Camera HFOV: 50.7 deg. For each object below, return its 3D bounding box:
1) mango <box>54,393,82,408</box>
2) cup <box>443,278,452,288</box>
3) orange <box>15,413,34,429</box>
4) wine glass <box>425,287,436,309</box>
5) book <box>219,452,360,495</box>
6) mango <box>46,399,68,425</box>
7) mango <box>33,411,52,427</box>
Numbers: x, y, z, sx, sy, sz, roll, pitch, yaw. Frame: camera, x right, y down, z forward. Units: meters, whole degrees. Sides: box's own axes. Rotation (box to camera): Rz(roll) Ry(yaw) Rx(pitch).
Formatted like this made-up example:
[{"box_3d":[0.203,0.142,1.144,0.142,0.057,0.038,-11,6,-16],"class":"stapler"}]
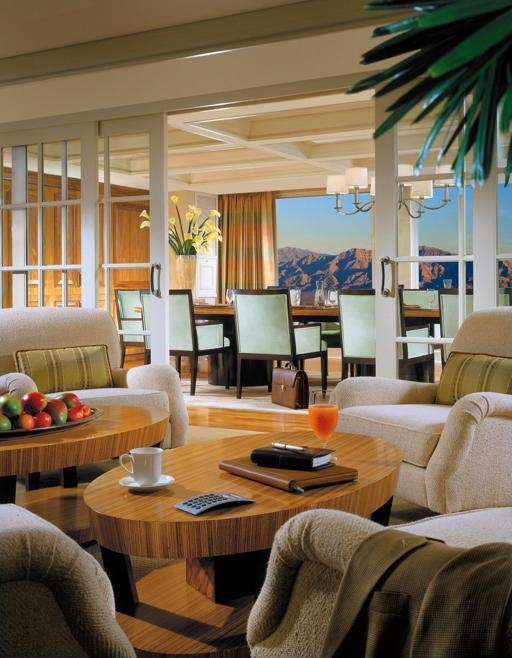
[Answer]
[{"box_3d":[-0.697,0.262,2.021,0.072,0.052,0.051,1,12,-26],"class":"mango"},{"box_3d":[1.152,-0.275,3.254,0.054,0.053,0.050,-2,7,0],"class":"cup"},{"box_3d":[-0.774,0.309,1.817,0.056,0.050,0.078,-2,3,-28],"class":"orange"},{"box_3d":[1.112,-0.191,3.420,0.062,0.120,0.078,0,2,17],"class":"wine glass"},{"box_3d":[0.075,0.357,1.368,0.191,0.033,0.309,-3,3,-41],"class":"book"},{"box_3d":[-0.694,0.290,1.885,0.064,0.082,0.065,-21,-7,19],"class":"mango"},{"box_3d":[-0.733,0.308,1.850,0.050,0.049,0.048,2,2,-1],"class":"mango"}]
